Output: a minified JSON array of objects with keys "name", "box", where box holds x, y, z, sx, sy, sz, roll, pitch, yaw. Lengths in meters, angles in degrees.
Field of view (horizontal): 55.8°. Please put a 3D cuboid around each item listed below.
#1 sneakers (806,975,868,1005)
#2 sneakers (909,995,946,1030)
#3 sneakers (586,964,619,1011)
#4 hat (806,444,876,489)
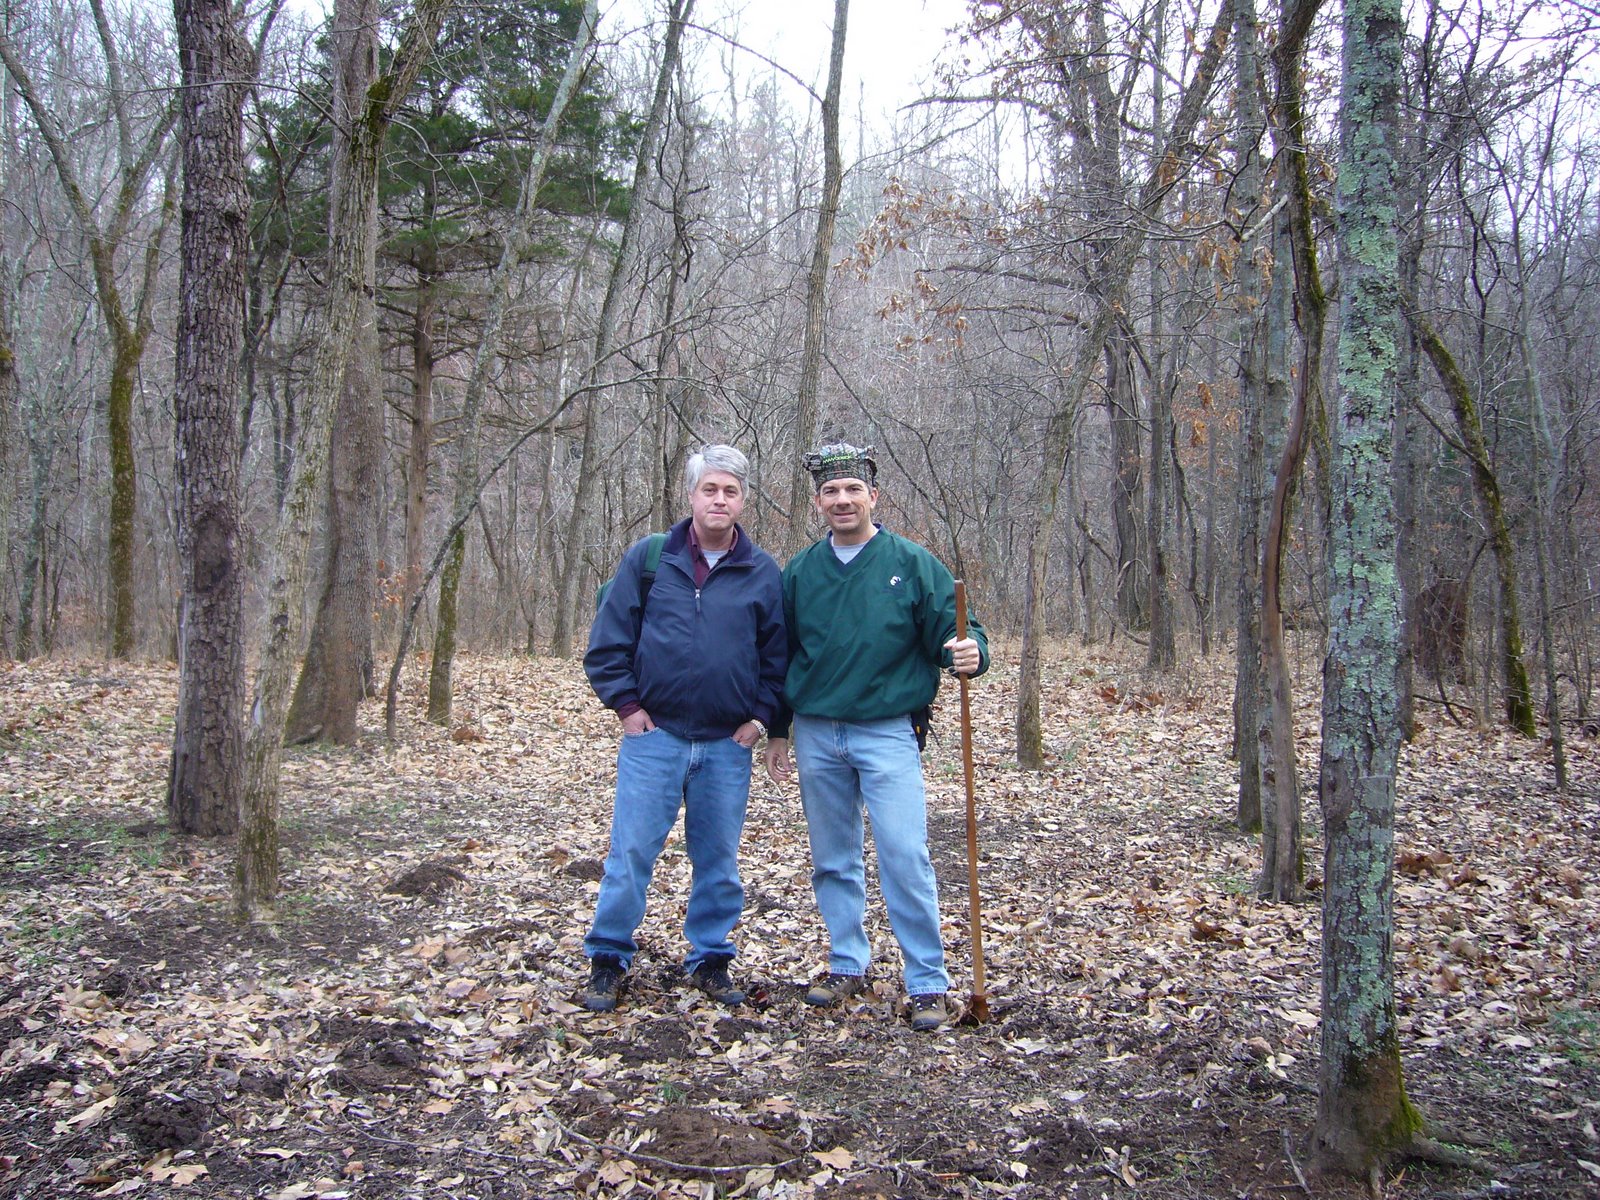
[{"name":"sneakers","box":[0.199,2.320,8.947,0.396,0.191,0.147,16,-12,-35]},{"name":"sneakers","box":[0.748,2.382,8.705,0.275,0.188,0.252,1,-3,-7]},{"name":"sneakers","box":[-1.141,2.274,8.860,0.247,0.275,0.154,2,-3,-14]},{"name":"hat","box":[0.252,-0.813,8.969,0.388,0.273,0.272,1,-3,6]}]
